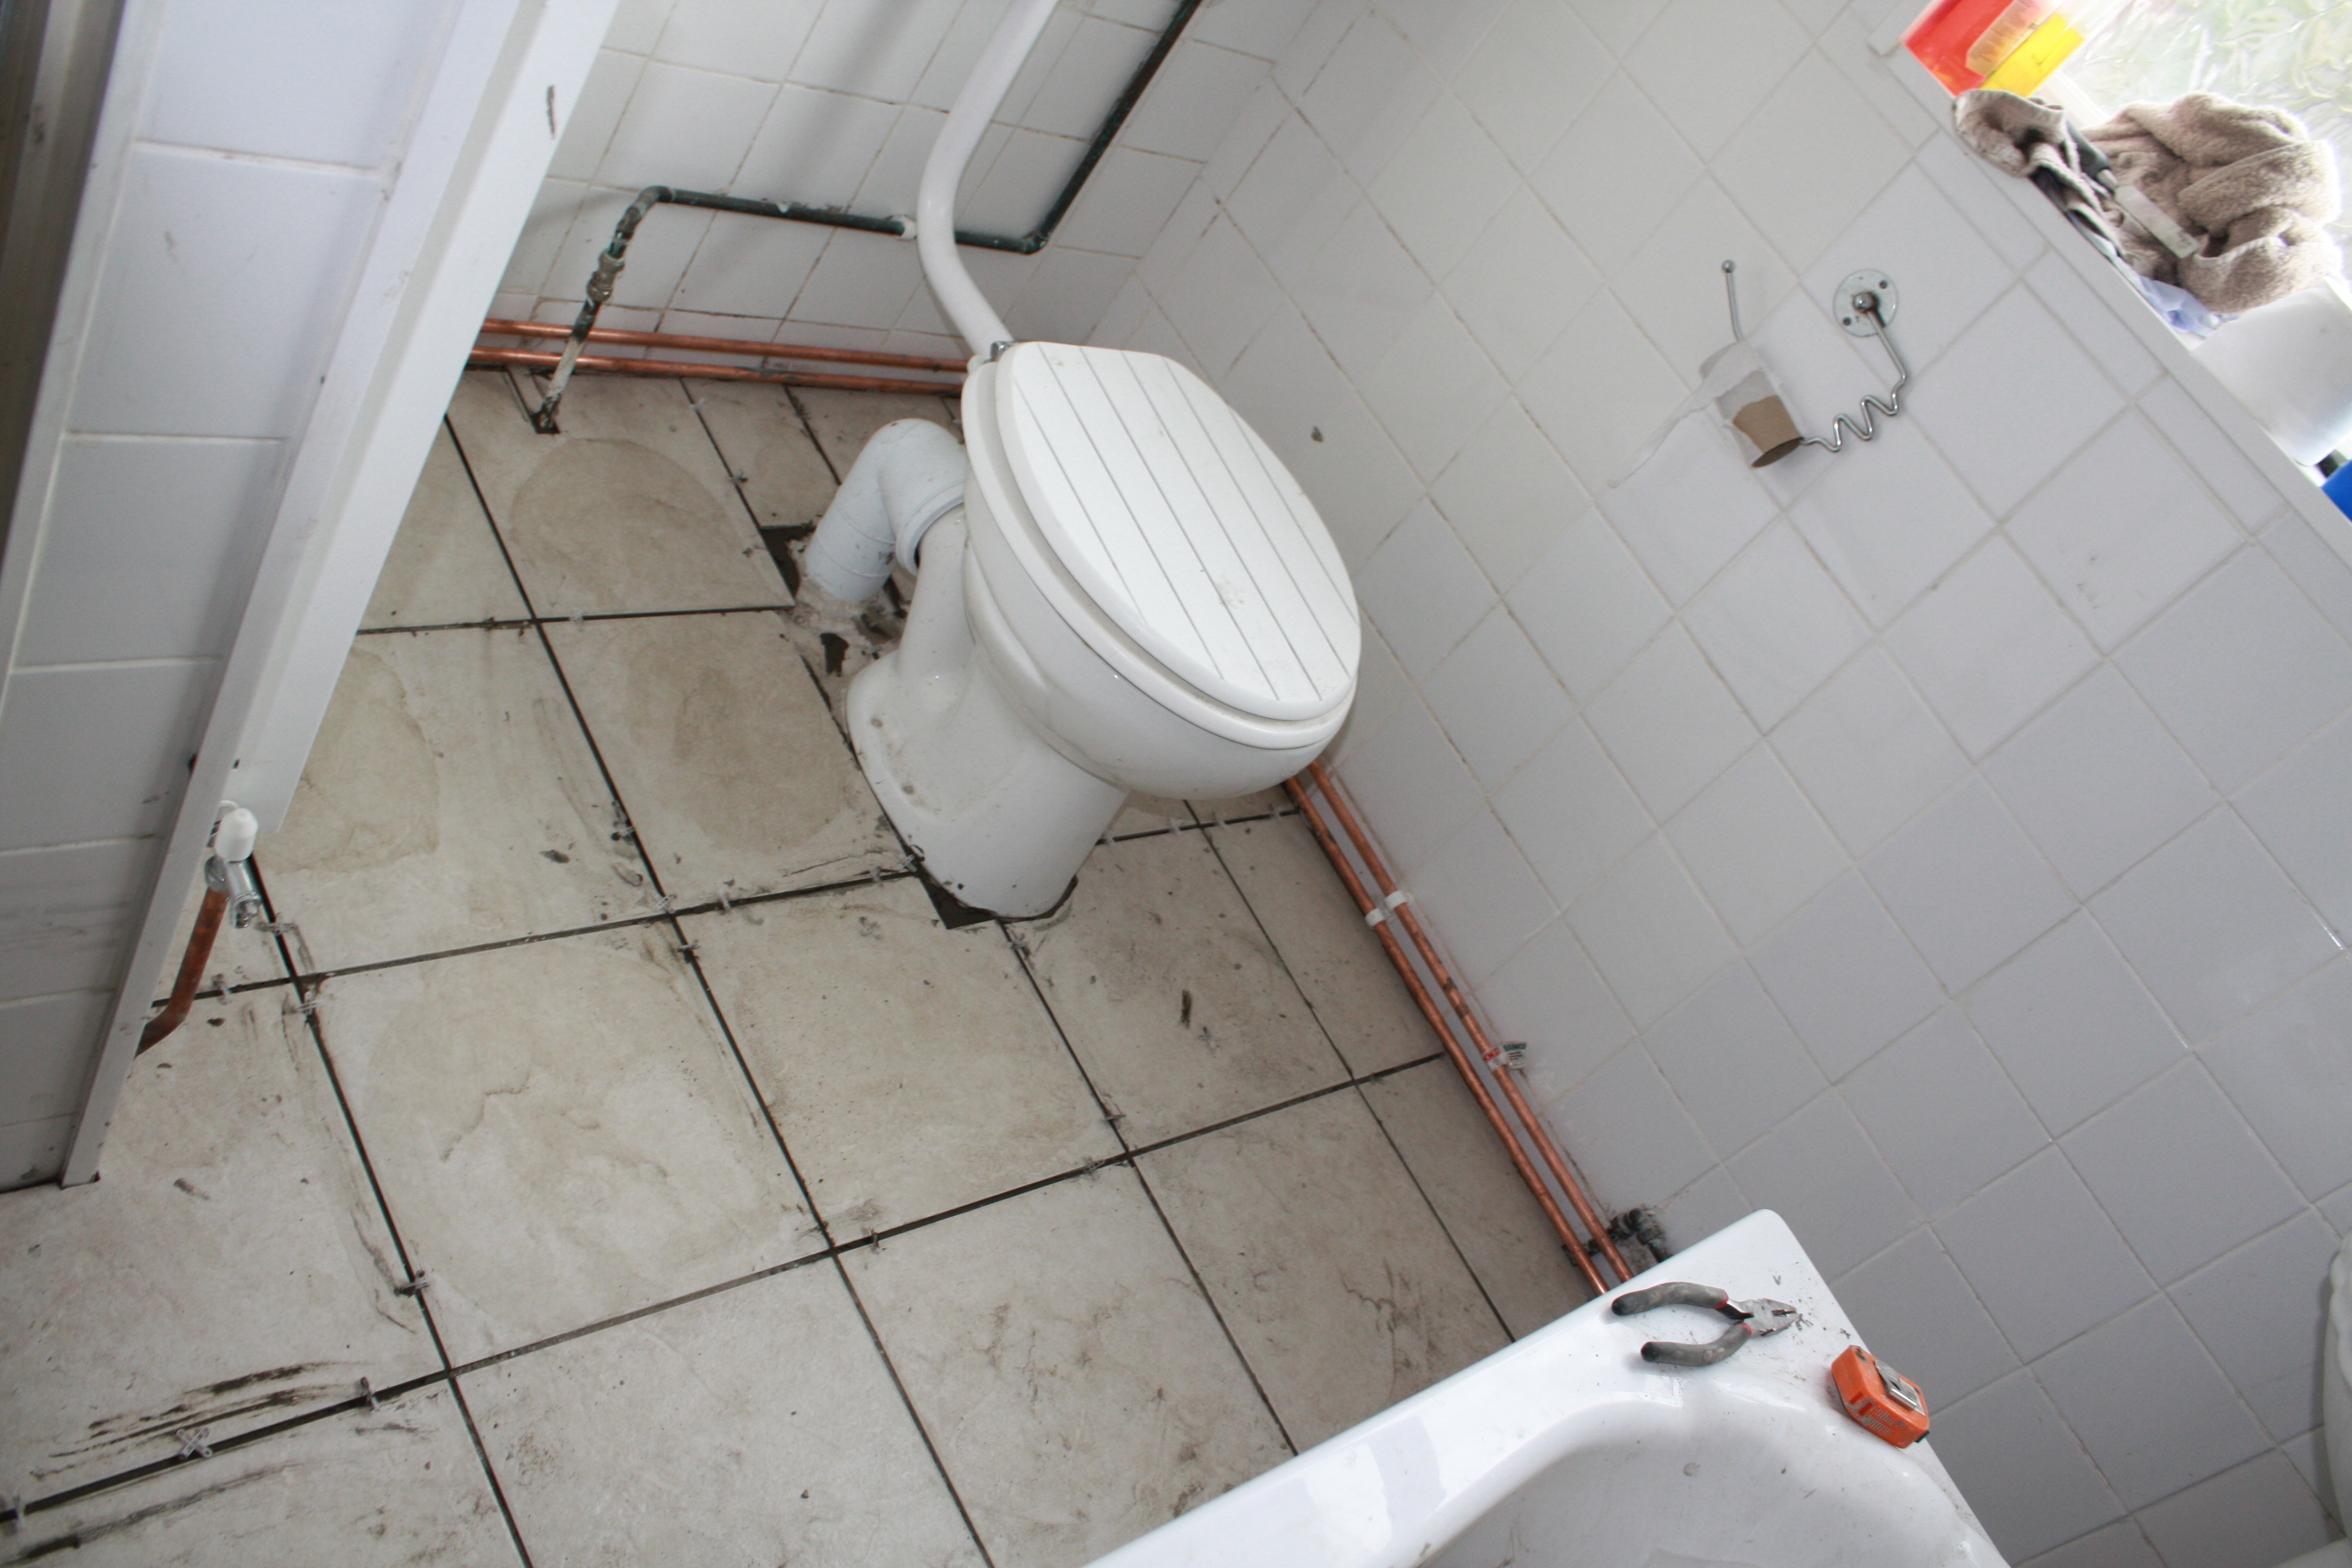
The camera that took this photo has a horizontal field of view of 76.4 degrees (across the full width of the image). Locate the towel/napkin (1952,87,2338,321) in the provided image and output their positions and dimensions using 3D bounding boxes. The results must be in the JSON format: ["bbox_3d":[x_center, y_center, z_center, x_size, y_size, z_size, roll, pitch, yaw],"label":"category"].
[{"bbox_3d":[1.152,-0.655,1.816,0.313,0.111,0.290,-16,76,4],"label":"towel/napkin"}]

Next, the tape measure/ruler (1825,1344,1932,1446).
[{"bbox_3d":[0.608,0.537,1.329,0.083,0.039,0.082,26,25,-49],"label":"tape measure/ruler"}]

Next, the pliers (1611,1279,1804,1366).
[{"bbox_3d":[0.457,0.463,1.282,0.153,0.027,0.073,-1,41,-23],"label":"pliers"}]
